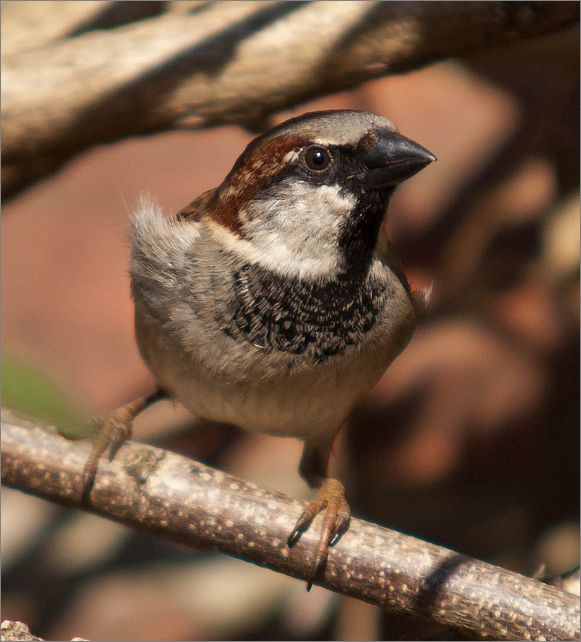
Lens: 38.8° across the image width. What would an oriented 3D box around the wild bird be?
[{"bbox_3d":[-0.040,-0.044,2.191,0.658,0.997,0.684,18,57,24],"label":"wild bird"}]
